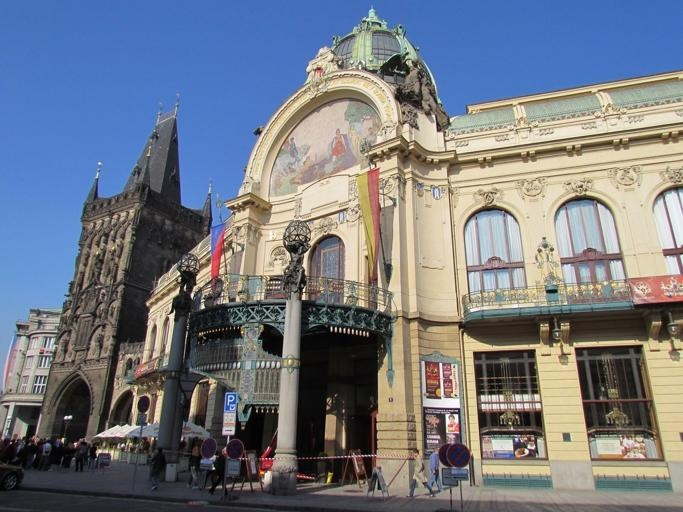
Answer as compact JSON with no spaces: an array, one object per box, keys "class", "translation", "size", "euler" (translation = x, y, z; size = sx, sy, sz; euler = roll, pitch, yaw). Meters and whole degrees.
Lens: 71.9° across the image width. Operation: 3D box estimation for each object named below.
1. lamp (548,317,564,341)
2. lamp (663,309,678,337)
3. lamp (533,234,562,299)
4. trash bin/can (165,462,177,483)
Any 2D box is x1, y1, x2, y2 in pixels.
[{"class":"lamp","translation":[11.578,3.998,25.458],"size":[0.587,1.184,1.042],"euler":[-8,-23,22]},{"class":"lamp","translation":[17.101,3.574,24.368],"size":[0.543,1.298,0.890],"euler":[-14,-26,33]},{"class":"lamp","translation":[11.730,0.738,26.732],"size":[1.094,4.154,1.656],"euler":[-10,-24,26]},{"class":"trash bin/can","translation":[-9.069,11.483,24.986],"size":[0.636,0.869,0.395],"euler":[6,-22,-14]}]
